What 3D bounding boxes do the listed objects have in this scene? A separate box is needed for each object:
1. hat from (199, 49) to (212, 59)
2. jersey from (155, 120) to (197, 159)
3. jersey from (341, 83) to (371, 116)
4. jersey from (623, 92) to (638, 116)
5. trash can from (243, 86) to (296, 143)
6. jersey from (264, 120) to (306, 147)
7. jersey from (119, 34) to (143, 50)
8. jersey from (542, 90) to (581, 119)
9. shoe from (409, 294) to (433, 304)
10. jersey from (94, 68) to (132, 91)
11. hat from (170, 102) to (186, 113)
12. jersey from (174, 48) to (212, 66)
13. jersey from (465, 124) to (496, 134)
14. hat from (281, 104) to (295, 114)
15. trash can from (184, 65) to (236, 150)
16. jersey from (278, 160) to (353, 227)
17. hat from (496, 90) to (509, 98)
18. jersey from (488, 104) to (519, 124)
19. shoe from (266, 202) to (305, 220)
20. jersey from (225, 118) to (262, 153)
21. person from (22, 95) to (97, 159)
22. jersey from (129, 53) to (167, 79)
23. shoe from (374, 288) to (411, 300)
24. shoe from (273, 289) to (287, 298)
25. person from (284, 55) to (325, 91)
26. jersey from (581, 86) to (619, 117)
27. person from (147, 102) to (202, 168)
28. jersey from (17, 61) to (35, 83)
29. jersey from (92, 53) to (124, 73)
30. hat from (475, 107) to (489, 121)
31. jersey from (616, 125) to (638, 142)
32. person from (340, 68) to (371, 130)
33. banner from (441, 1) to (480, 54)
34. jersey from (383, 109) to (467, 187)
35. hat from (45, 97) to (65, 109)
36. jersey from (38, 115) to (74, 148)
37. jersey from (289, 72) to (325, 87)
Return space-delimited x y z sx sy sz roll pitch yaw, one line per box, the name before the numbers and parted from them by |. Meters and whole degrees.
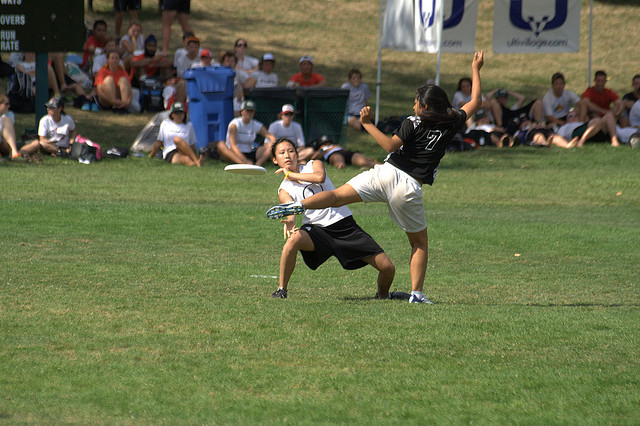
hat | -2.725 -3.778 26.249 0.204 0.172 0.324 1 3 3
jersey | -3.193 -1.609 24.513 0.779 0.876 0.380 7 9 22
jersey | 0.883 -2.929 28.639 0.941 0.880 0.515 5 46 21
jersey | 7.528 -2.629 26.908 0.452 0.553 0.309 14 31 27
trash can | -1.141 -2.254 25.458 1.257 1.604 1.234 3 21 3
jersey | -0.781 -1.608 24.458 0.971 0.741 0.437 2 0 -23
jersey | -4.895 -4.472 28.820 0.582 0.391 0.567 2 8 -12
jersey | 6.002 -2.668 27.486 1.005 0.724 0.522 -4 9 41
shoe | 1.554 1.321 16.796 0.384 0.155 0.128 2 1 -6
jersey | -5.246 -3.227 27.610 0.791 0.497 0.392 0 1 -11
hat | -3.111 -2.292 24.186 0.288 0.224 0.524 3 8 -7
jersey | -3.122 -3.829 27.210 0.754 0.334 0.201 -2 2 -6
jersey | 3.951 -2.065 27.365 0.735 0.245 0.488 5 8 8
hat | -0.707 -2.300 24.399 0.289 0.203 0.461 1 -5 1
trash can | -2.545 -2.548 25.631 1.379 1.958 1.053 2 13 -1
jersey | -0.031 -0.248 17.262 0.921 1.122 0.687 -30 -3 0
hat | 4.559 -2.995 27.869 0.326 0.178 0.501 -1 0 5
jersey | 4.726 -2.488 28.117 0.572 0.464 1.120 10 10 37
shoe | -0.512 0.007 16.696 0.606 0.216 0.285 -2 11 1
jersey | -1.686 -1.726 24.638 0.767 0.758 0.365 3 8 -5
person | -5.565 -1.849 24.302 1.532 1.351 0.993 12 15 26
jersey | -4.412 -3.741 28.289 0.866 0.674 0.365 2 8 -9
shoe | 1.121 1.270 17.125 0.547 0.227 0.182 -5 -2 6
shoe | -0.607 1.241 16.902 0.212 0.137 0.150 3 8 -2
person | -0.336 -3.400 27.599 0.999 1.030 1.223 0 5 12
jersey | 6.922 -2.884 27.532 0.776 0.562 0.837 14 -18 -38
person | -3.208 -1.680 24.700 1.582 1.456 0.879 0 8 -16
jersey | -7.054 -3.415 26.663 0.535 0.486 0.289 -2 3 -4
jersey | -5.418 -3.814 28.078 0.746 0.571 0.417 0 12 -4
hat | 3.996 -2.446 27.470 0.312 0.228 0.441 -14 6 10
jersey | 7.317 -1.878 26.561 0.500 0.349 0.400 6 9 19
person | 0.879 -2.956 28.443 1.094 1.453 0.800 -18 23 -37
banner | 3.658 -4.821 28.880 0.814 1.588 0.865 1 -3 13
jersey | 1.502 -0.959 16.746 0.920 0.936 0.212 4 8 2
hat | -5.794 -2.404 24.248 0.355 0.258 0.401 1 9 -19
jersey | -5.829 -1.807 24.595 0.816 0.737 0.421 -5 35 -20
jersey | -0.306 -3.336 27.725 0.758 0.261 0.495 2 -4 -3
